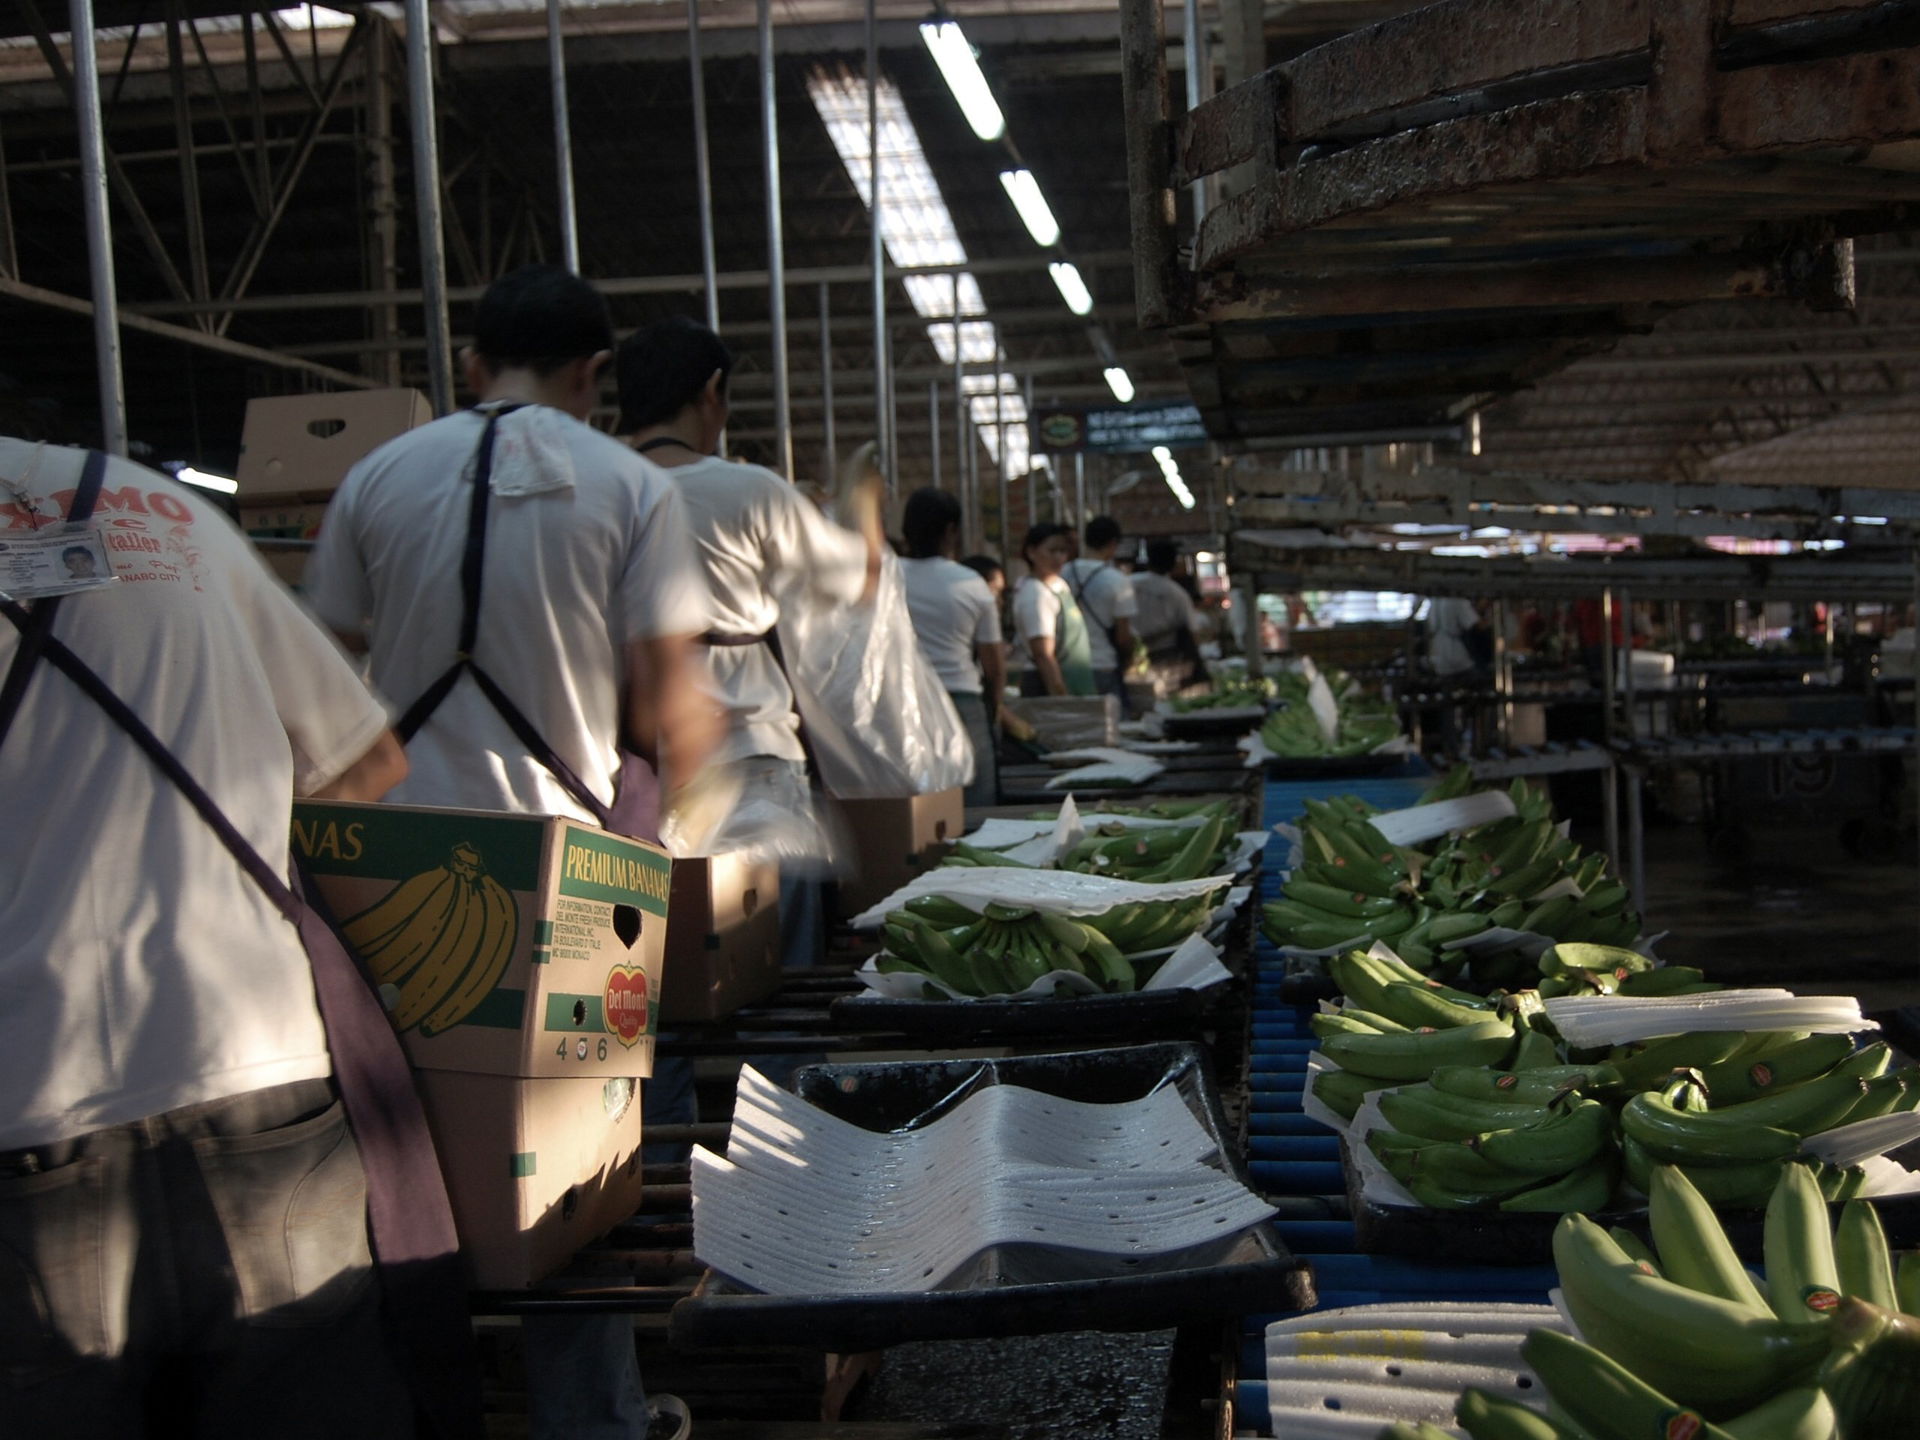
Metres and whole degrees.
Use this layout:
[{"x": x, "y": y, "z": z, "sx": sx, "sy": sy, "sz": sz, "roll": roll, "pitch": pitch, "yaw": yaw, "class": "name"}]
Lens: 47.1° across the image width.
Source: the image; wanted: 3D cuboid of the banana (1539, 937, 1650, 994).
[{"x": 0.852, "y": 0.324, "z": 2.932, "sx": 0.102, "sy": 0.034, "sz": 0.077, "roll": 1, "pitch": 3, "yaw": -32, "class": "banana"}]

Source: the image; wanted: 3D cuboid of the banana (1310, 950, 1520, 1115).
[{"x": 0.558, "y": 0.388, "z": 2.777, "sx": 0.159, "sy": 0.080, "sz": 0.210, "roll": -39, "pitch": 19, "yaw": -28, "class": "banana"}]

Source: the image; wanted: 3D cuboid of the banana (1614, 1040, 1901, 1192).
[{"x": 0.892, "y": 0.439, "z": 2.446, "sx": 0.214, "sy": 0.101, "sz": 0.160, "roll": -16, "pitch": 0, "yaw": 2, "class": "banana"}]

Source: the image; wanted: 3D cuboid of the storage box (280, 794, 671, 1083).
[{"x": -0.636, "y": 0.291, "z": 2.974, "sx": 0.412, "sy": 0.308, "sz": 0.446, "roll": 5, "pitch": -7, "yaw": 20, "class": "storage box"}]

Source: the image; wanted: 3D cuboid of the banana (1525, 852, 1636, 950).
[{"x": 0.904, "y": 0.273, "z": 3.207, "sx": 0.099, "sy": 0.150, "sz": 0.051, "roll": -9, "pitch": 13, "yaw": -7, "class": "banana"}]

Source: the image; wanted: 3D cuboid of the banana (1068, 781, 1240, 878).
[{"x": 0.345, "y": 0.208, "z": 3.833, "sx": 0.198, "sy": 0.075, "sz": 0.165, "roll": -27, "pitch": 8, "yaw": 19, "class": "banana"}]

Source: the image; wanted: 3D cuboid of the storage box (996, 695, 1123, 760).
[{"x": 0.340, "y": 0.003, "z": 6.873, "sx": 0.300, "sy": 0.168, "sz": 0.554, "roll": -2, "pitch": 0, "yaw": 2, "class": "storage box"}]

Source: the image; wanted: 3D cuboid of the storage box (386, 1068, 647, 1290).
[{"x": -0.585, "y": 0.552, "z": 2.939, "sx": 0.226, "sy": 0.320, "sz": 0.444, "roll": -4, "pitch": -2, "yaw": 13, "class": "storage box"}]

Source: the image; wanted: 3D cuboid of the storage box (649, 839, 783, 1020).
[{"x": -0.413, "y": 0.333, "z": 3.489, "sx": 0.198, "sy": 0.243, "sz": 0.366, "roll": 0, "pitch": 0, "yaw": 9, "class": "storage box"}]

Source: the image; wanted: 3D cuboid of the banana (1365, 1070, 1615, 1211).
[{"x": 0.602, "y": 0.477, "z": 2.498, "sx": 0.193, "sy": 0.075, "sz": 0.160, "roll": 8, "pitch": 39, "yaw": 37, "class": "banana"}]

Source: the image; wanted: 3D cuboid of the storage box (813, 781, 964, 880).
[{"x": -0.126, "y": 0.217, "z": 4.385, "sx": 0.178, "sy": 0.192, "sz": 0.114, "roll": -2, "pitch": 3, "yaw": 0, "class": "storage box"}]

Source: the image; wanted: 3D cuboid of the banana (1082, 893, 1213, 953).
[{"x": 0.290, "y": 0.297, "z": 3.259, "sx": 0.097, "sy": 0.047, "sz": 0.113, "roll": -18, "pitch": -10, "yaw": -38, "class": "banana"}]

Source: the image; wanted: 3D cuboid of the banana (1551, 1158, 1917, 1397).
[{"x": 0.731, "y": 0.535, "z": 2.084, "sx": 0.205, "sy": 0.092, "sz": 0.208, "roll": -15, "pitch": -5, "yaw": -11, "class": "banana"}]
